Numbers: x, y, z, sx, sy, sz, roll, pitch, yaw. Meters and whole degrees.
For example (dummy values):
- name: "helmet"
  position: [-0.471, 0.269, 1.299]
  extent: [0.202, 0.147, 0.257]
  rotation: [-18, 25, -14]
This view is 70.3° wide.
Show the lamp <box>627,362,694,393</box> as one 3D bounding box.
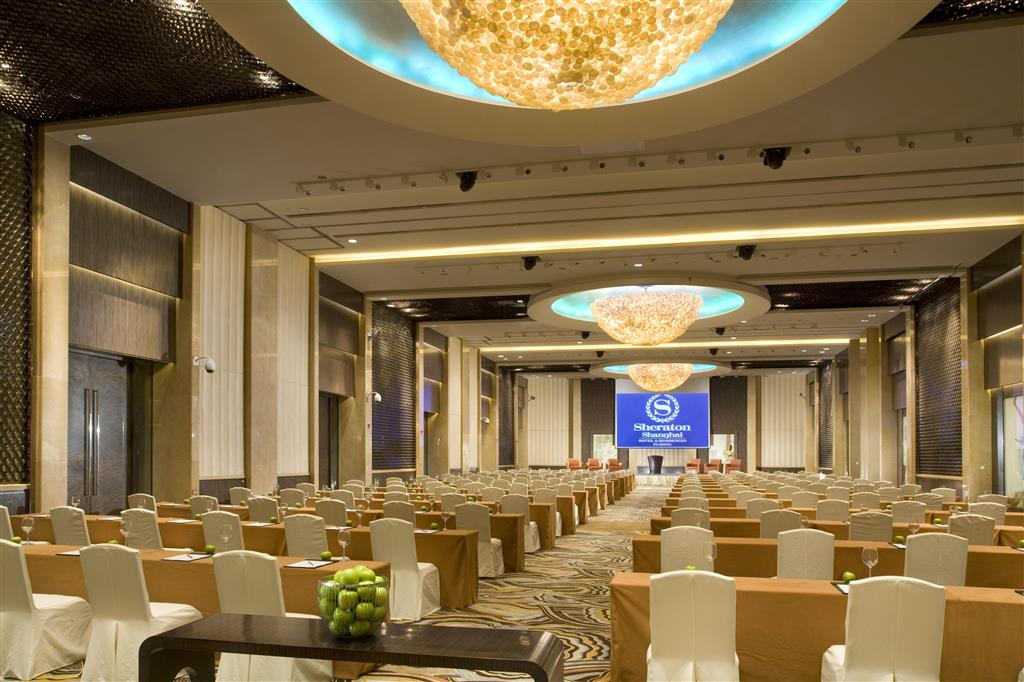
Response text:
- name: "lamp"
  position: [6.025, 1.528, 29.199]
  extent: [2.193, 1.029, 4.020]
  rotation: [-2, -11, 14]

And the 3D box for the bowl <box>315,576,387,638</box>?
- name: "bowl"
  position: [-0.951, 1.674, 4.443]
  extent: [0.353, 0.216, 0.335]
  rotation: [-12, -28, -7]

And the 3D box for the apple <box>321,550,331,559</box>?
- name: "apple"
  position: [-1.757, 2.038, 6.899]
  extent: [0.098, 0.077, 0.089]
  rotation: [8, -4, -11]

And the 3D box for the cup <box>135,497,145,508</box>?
- name: "cup"
  position: [-5.328, 2.339, 10.454]
  extent: [0.119, 0.113, 0.110]
  rotation: [0, -3, 0]

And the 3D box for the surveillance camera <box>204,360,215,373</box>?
- name: "surveillance camera"
  position: [-5.333, 0.447, 12.734]
  extent: [0.208, 0.223, 0.262]
  rotation: [2, -10, -9]

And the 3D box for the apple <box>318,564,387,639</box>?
- name: "apple"
  position: [-0.934, 1.577, 4.476]
  extent: [0.398, 0.352, 0.433]
  rotation: [-6, -9, 43]

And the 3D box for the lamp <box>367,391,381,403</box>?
- name: "lamp"
  position: [-3.659, 1.514, 19.436]
  extent: [0.321, 0.261, 0.310]
  rotation: [-2, -17, 6]

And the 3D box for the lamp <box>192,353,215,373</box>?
- name: "lamp"
  position: [-5.380, 0.391, 12.853]
  extent: [0.587, 0.267, 0.206]
  rotation: [-4, -3, 38]
